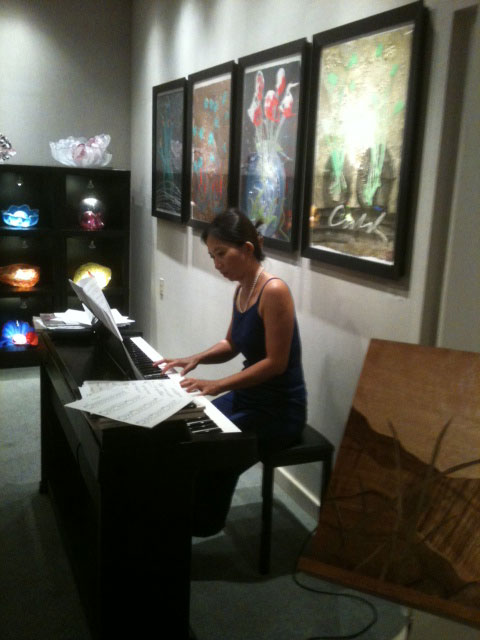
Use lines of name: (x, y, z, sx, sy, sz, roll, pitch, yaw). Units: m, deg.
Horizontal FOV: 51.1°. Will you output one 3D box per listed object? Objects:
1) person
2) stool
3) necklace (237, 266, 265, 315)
person: (-0.052, 0.212, 1.864, 0.555, 1.185, 0.430, -6, 8, -15)
stool: (0.206, 0.637, 1.752, 0.196, 0.440, 0.357, 5, 8, 29)
necklace: (0.033, -0.105, 1.875, 0.039, 0.165, 0.112, 13, 1, -17)
